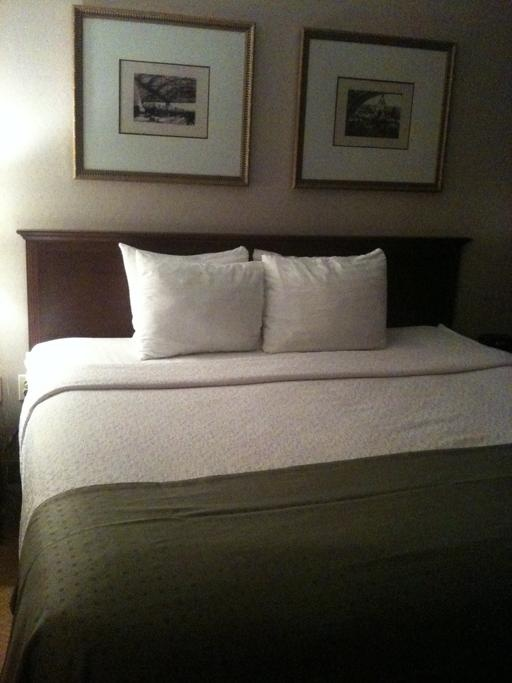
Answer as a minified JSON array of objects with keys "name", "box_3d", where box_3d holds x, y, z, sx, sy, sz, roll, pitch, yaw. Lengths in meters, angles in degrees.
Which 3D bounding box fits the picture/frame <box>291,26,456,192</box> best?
[{"name":"picture/frame","box_3d":[0.487,-1.037,2.495,0.737,0.628,0.038,1,19,-16]}]

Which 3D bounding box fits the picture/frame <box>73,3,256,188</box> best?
[{"name":"picture/frame","box_3d":[-0.389,-0.995,2.262,0.744,0.656,0.048,0,17,-13]}]
